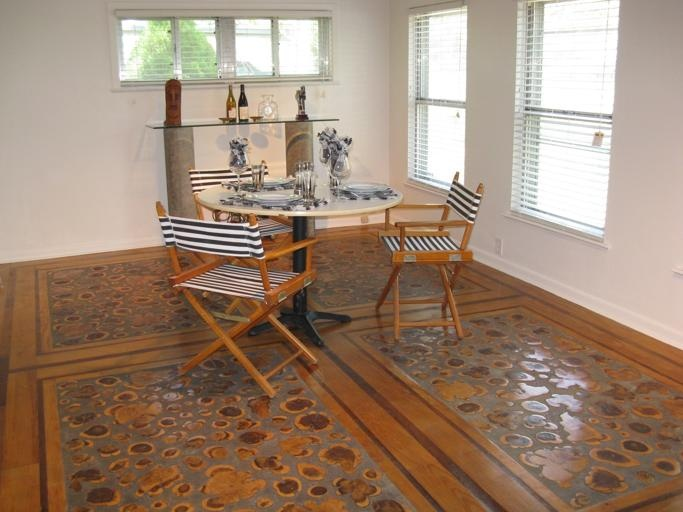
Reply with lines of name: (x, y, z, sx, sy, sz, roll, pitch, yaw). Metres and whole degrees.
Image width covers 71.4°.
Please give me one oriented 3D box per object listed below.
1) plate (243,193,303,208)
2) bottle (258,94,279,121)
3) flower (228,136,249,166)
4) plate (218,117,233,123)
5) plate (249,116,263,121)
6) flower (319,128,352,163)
plate: (-0.499, -0.398, 3.437, 0.230, 0.031, 0.228, 15, 21, 40)
bottle: (-0.917, -1.877, 5.944, 0.250, 0.317, 0.465, -3, 15, -7)
flower: (-0.876, -0.883, 4.067, 0.152, 0.234, 0.195, -3, 17, -9)
plate: (-1.383, -1.621, 5.654, 0.164, 0.046, 0.147, 2, 15, 17)
plate: (-1.032, -1.676, 5.750, 0.139, 0.039, 0.123, 1, 11, 15)
flower: (-0.058, -0.947, 3.899, 0.350, 0.301, 0.179, -1, 0, -9)
